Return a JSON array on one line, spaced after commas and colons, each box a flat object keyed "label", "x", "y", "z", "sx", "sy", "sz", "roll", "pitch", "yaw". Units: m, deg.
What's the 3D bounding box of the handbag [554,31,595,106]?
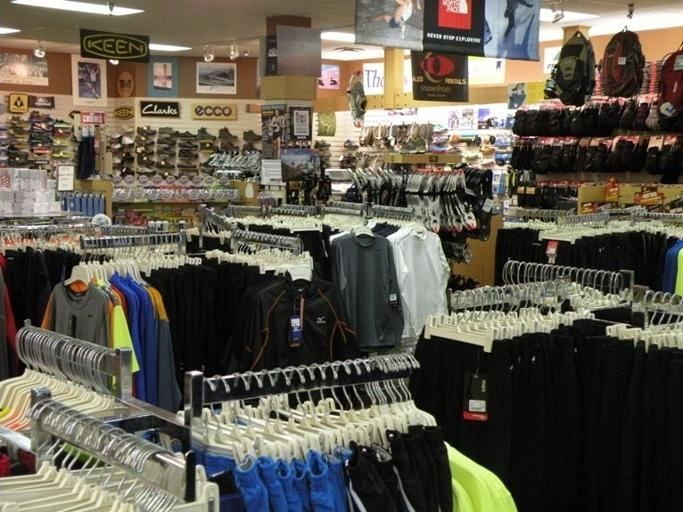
[{"label": "handbag", "x": 3.835, "y": -3.106, "z": 8.699, "sx": 0.627, "sy": 1.220, "sz": 0.299, "roll": 4, "pitch": 7, "yaw": 24}]

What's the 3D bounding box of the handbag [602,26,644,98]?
[{"label": "handbag", "x": 4.536, "y": -3.118, "z": 8.536, "sx": 0.598, "sy": 1.073, "sz": 0.278, "roll": 5, "pitch": 7, "yaw": 26}]
